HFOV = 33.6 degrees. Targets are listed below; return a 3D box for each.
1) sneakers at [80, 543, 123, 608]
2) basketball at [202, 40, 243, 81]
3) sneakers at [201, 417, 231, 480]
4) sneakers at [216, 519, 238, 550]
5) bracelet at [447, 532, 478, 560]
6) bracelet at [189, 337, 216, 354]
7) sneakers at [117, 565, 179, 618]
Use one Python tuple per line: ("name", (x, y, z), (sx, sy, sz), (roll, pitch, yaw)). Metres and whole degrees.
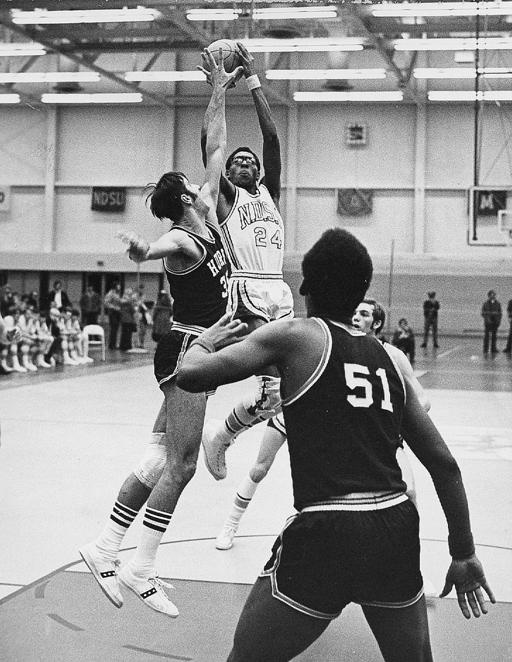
("sneakers", (-0.503, 0.832, 2.873), (0.144, 0.152, 0.165), (-9, 5, -32))
("basketball", (-0.162, -1.284, 3.988), (0.167, 0.216, 0.179), (-3, 6, -2))
("sneakers", (-0.157, 0.572, 3.890), (0.123, 0.315, 0.101), (-10, 5, 31))
("sneakers", (-0.133, 0.933, 3.860), (0.047, 0.062, 0.147), (19, 1, 5))
("bracelet", (0.469, 0.496, 1.933), (0.055, 0.046, 0.058), (-3, 2, 3))
("bracelet", (-0.128, 0.030, 2.004), (0.046, 0.039, 0.035), (-5, 8, -17))
("sneakers", (-0.381, 0.905, 2.922), (0.236, 0.103, 0.087), (40, -3, 3))
